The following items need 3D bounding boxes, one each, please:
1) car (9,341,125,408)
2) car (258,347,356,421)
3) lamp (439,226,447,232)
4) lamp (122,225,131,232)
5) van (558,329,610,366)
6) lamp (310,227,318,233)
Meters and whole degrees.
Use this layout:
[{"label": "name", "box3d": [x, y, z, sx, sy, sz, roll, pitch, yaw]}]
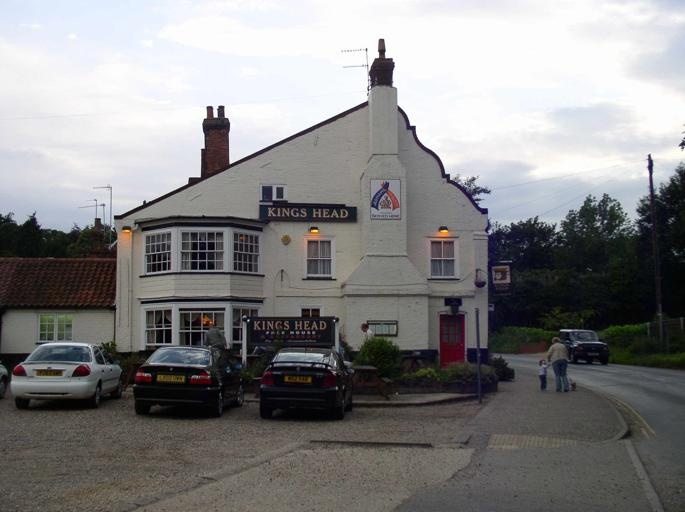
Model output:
[{"label": "car", "box3d": [-7.439, 3.257, 22.509, 1.688, 1.690, 3.090, 2, 0, 31]}, {"label": "car", "box3d": [-1.040, 3.508, 22.245, 2.380, 1.856, 2.121, 2, 1, -5]}, {"label": "lamp", "box3d": [4.267, -1.161, 34.675, 0.259, 0.135, 0.197, -2, -9, 12]}, {"label": "lamp", "box3d": [-8.870, -1.124, 33.426, 0.248, 0.135, 0.257, -4, -7, 16]}, {"label": "van", "box3d": [13.966, 5.196, 47.889, 2.209, 2.031, 4.145, 1, -11, -7]}, {"label": "lamp", "box3d": [-1.201, -1.097, 34.138, 0.310, 0.239, 0.214, 1, 8, -11]}]
